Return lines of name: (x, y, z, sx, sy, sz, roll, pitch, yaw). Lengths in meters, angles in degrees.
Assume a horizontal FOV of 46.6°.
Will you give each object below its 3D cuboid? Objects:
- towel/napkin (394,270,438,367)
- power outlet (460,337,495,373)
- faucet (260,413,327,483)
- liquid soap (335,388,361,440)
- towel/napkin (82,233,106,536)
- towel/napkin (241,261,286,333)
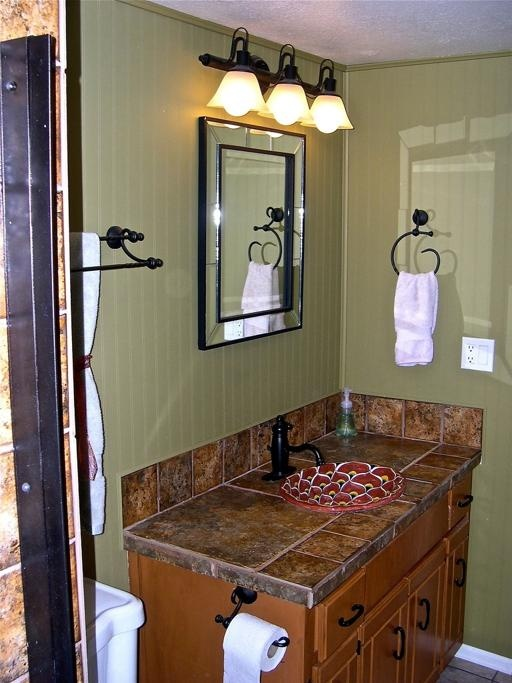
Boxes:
towel/napkin: (0.585, -0.086, 2.234, 0.178, 0.345, 0.086, 2, 5, 26)
power outlet: (0.866, 0.050, 2.300, 0.118, 0.142, 0.014, 6, 10, 43)
faucet: (0.163, 0.345, 1.994, 0.232, 0.243, 0.159, 1, 5, 28)
liquid soap: (0.382, 0.290, 2.479, 0.081, 0.197, 0.168, 3, 8, 7)
towel/napkin: (-0.351, 0.108, 1.285, 0.045, 0.667, 0.183, 0, 8, -15)
towel/napkin: (0.023, -0.135, 2.021, 0.058, 0.206, 0.184, 1, 6, 30)
